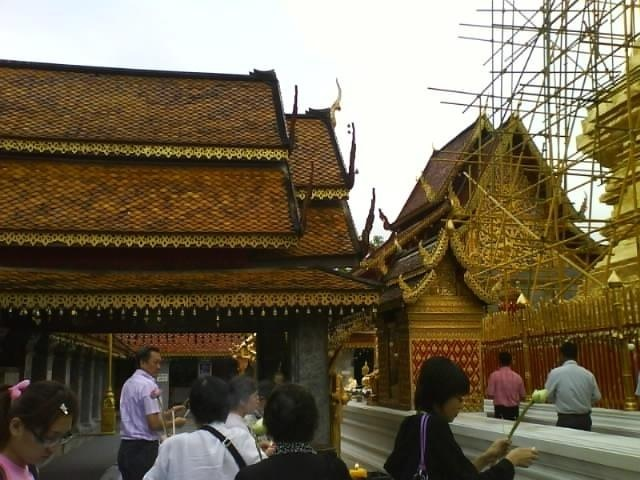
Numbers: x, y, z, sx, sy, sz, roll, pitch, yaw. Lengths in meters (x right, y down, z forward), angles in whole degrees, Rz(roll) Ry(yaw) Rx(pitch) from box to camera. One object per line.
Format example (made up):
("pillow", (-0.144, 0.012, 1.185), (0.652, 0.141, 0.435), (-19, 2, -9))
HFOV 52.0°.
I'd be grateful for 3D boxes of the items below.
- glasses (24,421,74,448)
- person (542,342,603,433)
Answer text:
("glasses", (-1.934, 1.447, 4.729), (0.182, 0.053, 0.183), (22, 1, 18))
("person", (3.437, 1.995, 8.929), (0.672, 1.223, 1.040), (-7, -19, 20))
